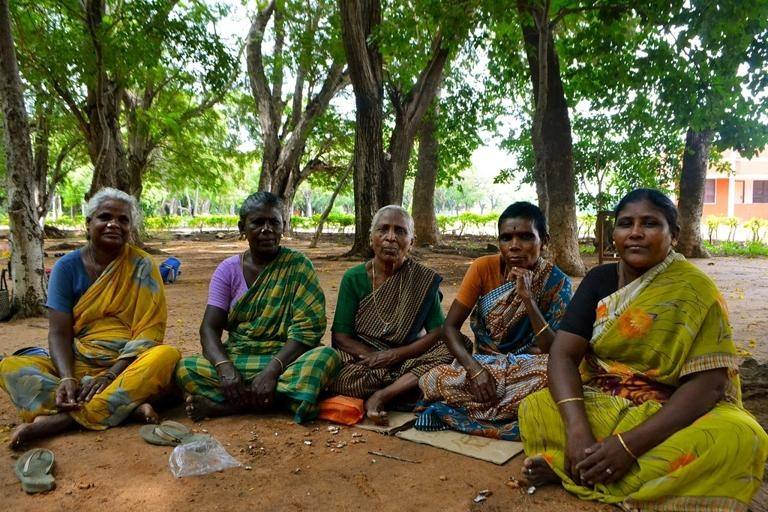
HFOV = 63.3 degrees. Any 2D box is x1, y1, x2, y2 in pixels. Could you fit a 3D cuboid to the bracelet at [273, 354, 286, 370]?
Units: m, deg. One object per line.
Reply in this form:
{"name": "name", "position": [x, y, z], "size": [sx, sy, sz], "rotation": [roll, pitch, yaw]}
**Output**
{"name": "bracelet", "position": [-1.003, 1.037, 6.020], "size": [0.033, 0.121, 0.099], "rotation": [-40, -12, -10]}

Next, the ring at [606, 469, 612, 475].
{"name": "ring", "position": [1.765, 1.689, 4.871], "size": [0.012, 0.037, 0.036], "rotation": [-7, 13, -12]}

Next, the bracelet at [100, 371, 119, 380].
{"name": "bracelet", "position": [-2.559, 1.124, 5.810], "size": [0.107, 0.066, 0.072], "rotation": [3, 2, 8]}

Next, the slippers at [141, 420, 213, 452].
{"name": "slippers", "position": [-1.944, 1.600, 5.591], "size": [0.411, 0.105, 0.245], "rotation": [10, 8, 12]}

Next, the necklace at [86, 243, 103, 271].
{"name": "necklace", "position": [-2.846, 0.030, 6.072], "size": [0.186, 0.264, 0.092], "rotation": [1, 45, 1]}

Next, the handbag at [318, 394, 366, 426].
{"name": "handbag", "position": [-0.411, 1.490, 5.996], "size": [0.444, 0.225, 0.207], "rotation": [3, 3, 4]}

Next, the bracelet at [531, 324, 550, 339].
{"name": "bracelet", "position": [1.462, 0.699, 5.770], "size": [0.101, 0.112, 0.108], "rotation": [-1, 3, -27]}

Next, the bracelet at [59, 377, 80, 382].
{"name": "bracelet", "position": [-2.925, 1.142, 5.772], "size": [0.138, 0.043, 0.090], "rotation": [2, 2, -36]}

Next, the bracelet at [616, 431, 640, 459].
{"name": "bracelet", "position": [1.918, 1.493, 4.873], "size": [0.044, 0.176, 0.144], "rotation": [-31, -8, 1]}
